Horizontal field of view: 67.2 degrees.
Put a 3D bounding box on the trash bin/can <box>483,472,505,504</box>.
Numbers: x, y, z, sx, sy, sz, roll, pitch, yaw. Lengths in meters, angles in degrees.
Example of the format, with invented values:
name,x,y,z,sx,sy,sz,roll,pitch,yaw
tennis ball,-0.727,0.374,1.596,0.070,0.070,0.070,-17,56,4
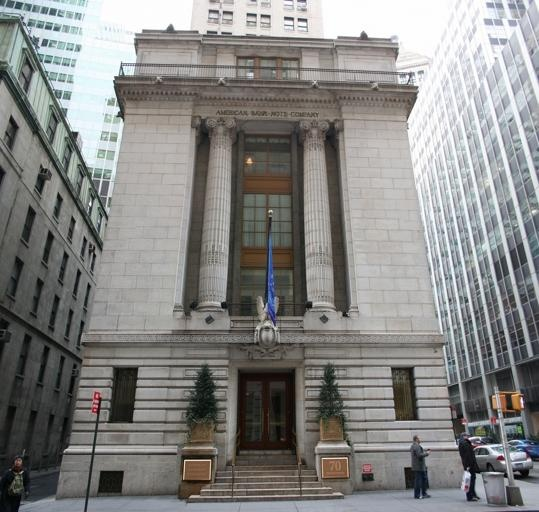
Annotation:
name,x,y,z,sx,sy,sz,roll,pitch,yaw
trash bin/can,6.306,6.500,11.418,0.570,0.816,0.396,-15,-26,31

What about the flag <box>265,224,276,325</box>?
name,x,y,z,sx,sy,sz,roll,pitch,yaw
flag,0.022,0.169,17.721,0.408,5.254,0.987,-2,7,2

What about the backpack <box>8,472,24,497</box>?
name,x,y,z,sx,sy,sz,roll,pitch,yaw
backpack,-6.274,5.624,10.069,0.275,0.544,0.381,-12,-34,11

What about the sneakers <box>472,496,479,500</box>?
name,x,y,z,sx,sy,sz,roll,pitch,yaw
sneakers,6.470,7.608,12.808,0.096,0.117,0.292,-21,-23,35
